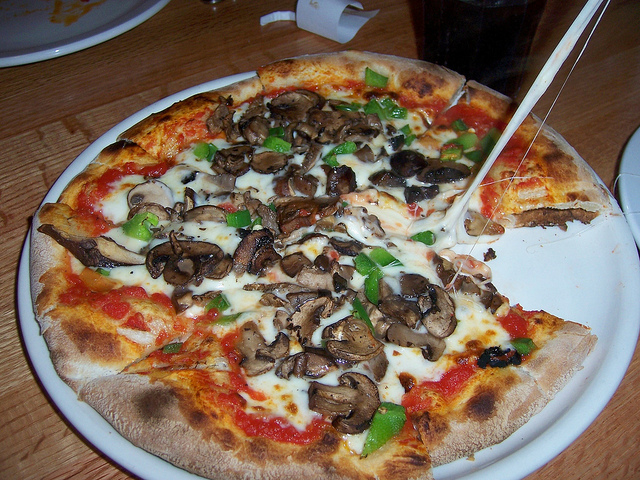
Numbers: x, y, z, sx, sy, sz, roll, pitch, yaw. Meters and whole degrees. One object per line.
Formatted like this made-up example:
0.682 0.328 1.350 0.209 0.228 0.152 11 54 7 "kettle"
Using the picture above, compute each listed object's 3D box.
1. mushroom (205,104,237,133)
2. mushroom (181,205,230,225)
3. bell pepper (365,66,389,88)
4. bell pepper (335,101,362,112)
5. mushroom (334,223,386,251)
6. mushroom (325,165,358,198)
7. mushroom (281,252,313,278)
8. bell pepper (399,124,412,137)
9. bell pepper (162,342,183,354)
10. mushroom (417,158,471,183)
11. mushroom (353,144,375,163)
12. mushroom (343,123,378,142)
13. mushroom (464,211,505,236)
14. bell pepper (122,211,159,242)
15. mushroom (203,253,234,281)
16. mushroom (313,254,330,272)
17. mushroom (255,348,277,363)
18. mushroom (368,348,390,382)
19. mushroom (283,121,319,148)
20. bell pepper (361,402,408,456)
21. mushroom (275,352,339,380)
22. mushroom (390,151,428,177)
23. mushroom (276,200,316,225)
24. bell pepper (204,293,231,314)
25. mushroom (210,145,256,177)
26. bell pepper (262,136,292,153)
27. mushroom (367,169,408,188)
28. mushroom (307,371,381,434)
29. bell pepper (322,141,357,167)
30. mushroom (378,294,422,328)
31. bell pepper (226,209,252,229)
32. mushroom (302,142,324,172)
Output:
-0.704 -0.862 4.062 0.168 0.049 0.221 31 78 1 "mushroom"
-0.717 -0.171 3.641 0.217 0.042 0.127 3 50 -8 "mushroom"
0.422 -1.234 4.368 0.182 0.076 0.125 11 79 2 "bell pepper"
0.211 -0.981 4.192 0.158 0.021 0.073 1 45 1 "bell pepper"
0.251 -0.052 3.581 0.275 0.055 0.150 26 31 -4 "mushroom"
0.134 -0.388 3.748 0.211 0.065 0.182 3 86 0 "mushroom"
-0.154 0.138 3.480 0.158 0.069 0.140 -38 81 -7 "mushroom"
0.608 -0.793 4.117 0.075 0.022 0.083 40 65 13 "bell pepper"
-0.855 0.623 3.365 0.105 0.066 0.064 -2 79 0 "bell pepper"
0.822 -0.456 3.867 0.307 0.088 0.204 22 80 5 "mushroom"
0.304 -0.588 3.918 0.119 0.032 0.139 -29 80 -5 "mushroom"
0.281 -0.751 3.990 0.217 0.041 0.128 3 45 16 "mushroom"
1.045 -0.118 3.735 0.236 0.106 0.178 -4 79 0 "mushroom"
-1.116 -0.088 3.649 0.215 0.097 0.171 14 79 7 "bell pepper"
-0.586 0.156 3.454 0.143 0.044 0.158 35 83 23 "mushroom"
0.010 0.130 3.484 0.091 0.074 0.113 -2 79 0 "mushroom"
-0.299 0.639 3.214 0.123 0.025 0.070 3 79 1 "mushroom"
0.333 0.688 3.169 0.147 0.044 0.151 5 71 -9 "mushroom"
-0.114 -0.748 4.057 0.197 0.076 0.212 -40 77 5 "mushroom"
0.317 0.971 3.005 0.163 0.074 0.288 38 64 18 "bell pepper"
-0.048 0.678 3.149 0.353 0.059 0.144 -4 68 5 "mushroom"
0.595 -0.518 3.899 0.239 0.057 0.179 -10 54 5 "mushroom"
-0.163 -0.172 3.632 0.234 0.049 0.128 -24 51 -6 "mushroom"
-0.601 0.384 3.420 0.159 0.032 0.098 -44 82 -8 "bell pepper"
-0.601 -0.562 3.893 0.246 0.114 0.242 7 78 -21 "mushroom"
-0.292 -0.654 3.957 0.189 0.057 0.091 29 81 6 "bell pepper"
0.447 -0.423 3.852 0.255 0.070 0.139 0 79 0 "mushroom"
0.125 0.849 3.064 0.382 0.095 0.256 1 56 3 "mushroom"
0.143 -0.593 3.951 0.265 0.061 0.123 -42 77 -11 "bell pepper"
0.447 0.396 3.340 0.230 0.063 0.169 32 55 26 "mushroom"
-0.500 -0.144 3.650 0.213 0.106 0.115 -4 107 -14 "bell pepper"
-0.048 -0.558 3.890 0.114 0.076 0.280 20 53 12 "mushroom"
